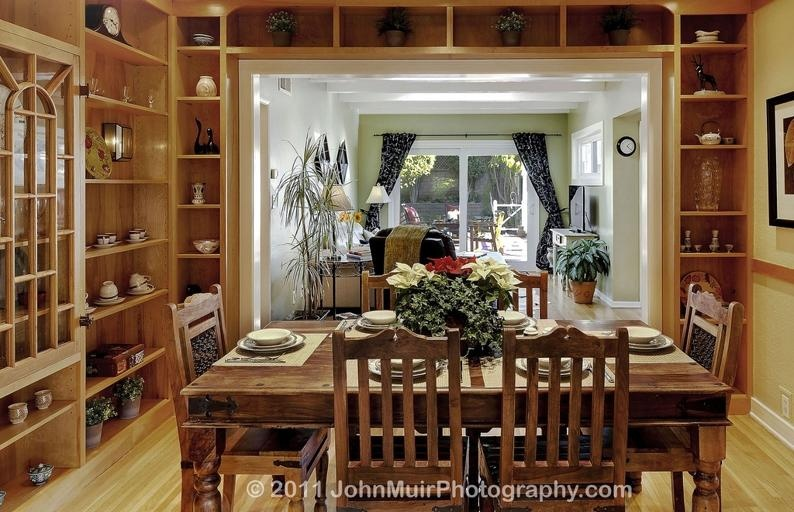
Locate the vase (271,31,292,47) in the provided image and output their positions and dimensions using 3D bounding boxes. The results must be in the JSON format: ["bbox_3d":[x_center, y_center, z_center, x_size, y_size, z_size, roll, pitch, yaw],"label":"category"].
[{"bbox_3d":[-0.925,-1.699,4.788,0.125,0.078,0.127,1,8,11],"label":"vase"}]

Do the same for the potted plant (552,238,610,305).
[{"bbox_3d":[2.493,0.218,8.543,0.786,0.807,0.820,-1,7,-1],"label":"potted plant"}]

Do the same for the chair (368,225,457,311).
[{"bbox_3d":[0.327,0.111,6.716,0.754,1.084,0.857,1,2,19],"label":"chair"}]

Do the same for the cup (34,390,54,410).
[{"bbox_3d":[-2.165,0.875,3.697,0.089,0.105,0.106,7,10,38],"label":"cup"}]

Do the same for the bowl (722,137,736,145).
[{"bbox_3d":[2.598,-0.884,4.704,0.088,0.044,0.090,-2,1,0],"label":"bowl"}]

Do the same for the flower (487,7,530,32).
[{"bbox_3d":[0.898,-1.842,4.777,0.266,0.194,0.228,2,8,9],"label":"flower"}]

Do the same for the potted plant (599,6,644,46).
[{"bbox_3d":[1.761,-1.773,4.835,0.314,0.320,0.314,2,-4,-14],"label":"potted plant"}]

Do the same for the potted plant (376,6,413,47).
[{"bbox_3d":[-0.016,-1.777,4.866,0.308,0.319,0.305,0,-7,-2],"label":"potted plant"}]

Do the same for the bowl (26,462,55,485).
[{"bbox_3d":[-2.200,1.323,3.700,0.120,0.101,0.128,0,-5,0],"label":"bowl"}]

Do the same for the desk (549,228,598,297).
[{"bbox_3d":[2.553,0.105,8.614,0.312,0.595,0.977,0,6,6],"label":"desk"}]

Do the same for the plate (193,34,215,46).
[{"bbox_3d":[-1.539,-1.689,4.766,0.137,0.076,0.140,-1,4,10],"label":"plate"}]

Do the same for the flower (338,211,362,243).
[{"bbox_3d":[-0.629,-0.386,8.176,0.412,0.541,0.422,1,-1,-8],"label":"flower"}]

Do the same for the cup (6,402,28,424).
[{"bbox_3d":[-2.226,0.921,3.521,0.098,0.092,0.110,5,-11,-2],"label":"cup"}]

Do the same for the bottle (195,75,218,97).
[{"bbox_3d":[-1.531,-1.344,4.799,0.165,0.178,0.205,-2,8,-16],"label":"bottle"}]

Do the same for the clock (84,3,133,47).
[{"bbox_3d":[-2.006,-1.598,4.150,0.121,0.238,0.294,3,8,17],"label":"clock"}]

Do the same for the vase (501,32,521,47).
[{"bbox_3d":[0.898,-1.681,4.741,0.117,0.084,0.121,0,2,0],"label":"vase"}]

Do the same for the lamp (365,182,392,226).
[{"bbox_3d":[-0.334,-0.829,10.175,0.365,0.697,0.393,0,-2,34],"label":"lamp"}]

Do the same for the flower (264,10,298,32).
[{"bbox_3d":[-0.927,-1.842,4.768,0.206,0.151,0.210,3,7,9],"label":"flower"}]

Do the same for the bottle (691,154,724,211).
[{"bbox_3d":[2.443,-0.557,4.734,0.182,0.405,0.142,4,8,24],"label":"bottle"}]

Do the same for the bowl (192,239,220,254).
[{"bbox_3d":[-1.555,-0.072,4.856,0.268,0.101,0.136,2,8,8],"label":"bowl"}]
